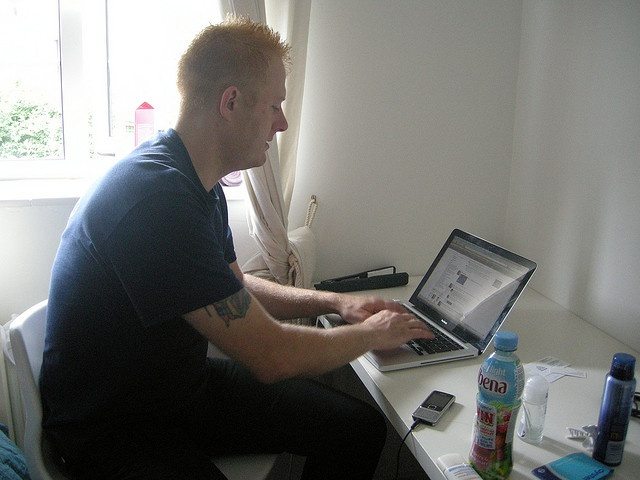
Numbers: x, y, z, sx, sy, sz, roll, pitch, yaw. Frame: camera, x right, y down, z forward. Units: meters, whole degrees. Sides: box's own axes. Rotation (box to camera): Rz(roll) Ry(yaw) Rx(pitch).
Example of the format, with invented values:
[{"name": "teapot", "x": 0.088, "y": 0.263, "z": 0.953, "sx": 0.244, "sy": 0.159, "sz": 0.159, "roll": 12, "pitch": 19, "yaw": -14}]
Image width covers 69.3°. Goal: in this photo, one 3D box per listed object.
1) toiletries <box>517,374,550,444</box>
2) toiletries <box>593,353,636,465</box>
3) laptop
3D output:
[{"name": "toiletries", "x": 0.502, "y": 0.390, "z": 1.096, "sx": 0.056, "sy": 0.159, "sz": 0.057, "roll": 14, "pitch": 25, "yaw": 41}, {"name": "toiletries", "x": 0.647, "y": 0.373, "z": 1.017, "sx": 0.056, "sy": 0.235, "sz": 0.097, "roll": 11, "pitch": 18, "yaw": 36}, {"name": "laptop", "x": 0.357, "y": 0.160, "z": 1.533, "sx": 0.477, "sy": 0.308, "sz": 0.474, "roll": 0, "pitch": 13, "yaw": -21}]
